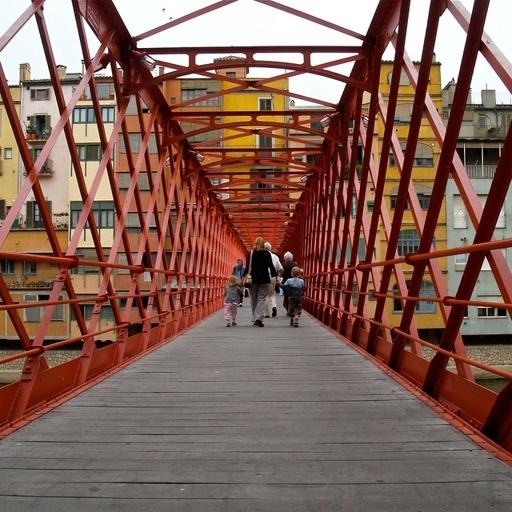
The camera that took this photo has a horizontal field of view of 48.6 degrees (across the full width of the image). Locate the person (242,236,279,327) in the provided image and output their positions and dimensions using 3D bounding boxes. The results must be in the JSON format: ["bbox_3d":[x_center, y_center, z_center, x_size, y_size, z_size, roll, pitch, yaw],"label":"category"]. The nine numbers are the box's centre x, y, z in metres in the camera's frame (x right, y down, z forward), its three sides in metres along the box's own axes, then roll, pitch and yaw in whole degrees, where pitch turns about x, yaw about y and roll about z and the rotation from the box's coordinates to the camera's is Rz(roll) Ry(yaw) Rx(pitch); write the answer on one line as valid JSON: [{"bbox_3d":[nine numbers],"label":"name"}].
[{"bbox_3d":[0.036,0.394,10.287,0.542,1.597,0.625,6,14,17],"label":"person"}]

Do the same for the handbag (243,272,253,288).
[{"bbox_3d":[-0.165,0.442,9.989,0.121,0.262,0.222,8,14,26],"label":"handbag"}]

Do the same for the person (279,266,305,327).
[{"bbox_3d":[0.687,0.777,10.652,0.417,1.124,0.412,4,-4,-11],"label":"person"}]

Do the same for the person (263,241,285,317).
[{"bbox_3d":[0.355,0.577,13.181,0.524,1.735,0.586,-4,0,9],"label":"person"}]
